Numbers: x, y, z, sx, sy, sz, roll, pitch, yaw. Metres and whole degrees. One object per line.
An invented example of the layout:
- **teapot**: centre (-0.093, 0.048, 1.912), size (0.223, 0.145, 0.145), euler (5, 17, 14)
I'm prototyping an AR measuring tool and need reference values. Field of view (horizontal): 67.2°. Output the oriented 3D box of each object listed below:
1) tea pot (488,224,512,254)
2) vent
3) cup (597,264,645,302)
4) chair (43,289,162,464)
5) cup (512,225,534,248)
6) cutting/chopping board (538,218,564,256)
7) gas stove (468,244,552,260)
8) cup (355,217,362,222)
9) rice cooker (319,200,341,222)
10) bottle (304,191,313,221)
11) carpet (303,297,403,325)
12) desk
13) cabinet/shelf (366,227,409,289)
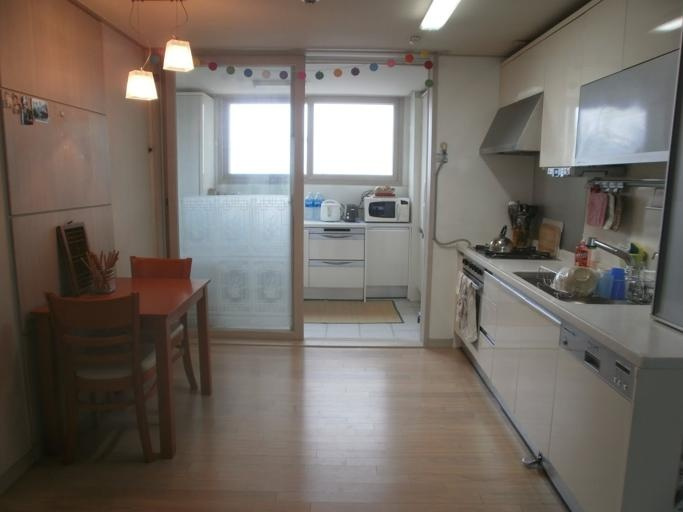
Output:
- **tea pot**: centre (1.380, -0.147, 4.386), size (0.225, 0.257, 0.231), euler (3, 9, 0)
- **vent**: centre (1.397, -1.081, 4.230), size (0.190, 0.407, 0.596), euler (4, 3, -13)
- **cup**: centre (1.663, 0.159, 3.061), size (0.260, 0.186, 0.203), euler (5, 11, 27)
- **chair**: centre (-1.484, 0.716, 3.296), size (0.666, 1.094, 0.552), euler (1, 10, 9)
- **cup**: centre (1.565, -0.156, 4.496), size (0.181, 0.191, 0.149), euler (0, 6, 7)
- **cutting/chopping board**: centre (1.732, -0.150, 4.231), size (0.039, 0.307, 0.265), euler (3, 10, -10)
- **gas stove**: centre (1.442, -0.023, 4.243), size (0.570, 0.043, 0.355), euler (2, 10, 12)
- **cup**: centre (0.231, -0.461, 6.631), size (0.078, 0.082, 0.145), euler (1, 4, 4)
- **rice cooker**: centre (-0.139, -0.546, 6.376), size (0.264, 0.276, 0.206), euler (0, 9, -3)
- **bottle**: centre (-0.415, -0.646, 6.646), size (0.106, 0.341, 0.221), euler (-1, 10, -5)
- **carpet**: centre (0.124, 0.637, 5.971), size (1.098, 0.036, 0.914), euler (0, 10, -2)
- **desk**: centre (-1.507, 0.727, 3.664), size (1.004, 1.015, 1.056), euler (0, 10, -1)
- **cabinet/shelf**: centre (0.592, 0.004, 6.555), size (0.667, 1.013, 0.633), euler (0, 6, 1)
